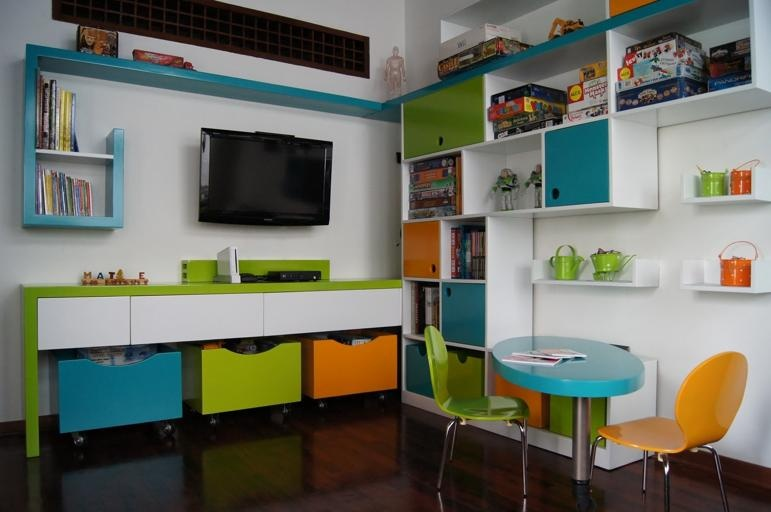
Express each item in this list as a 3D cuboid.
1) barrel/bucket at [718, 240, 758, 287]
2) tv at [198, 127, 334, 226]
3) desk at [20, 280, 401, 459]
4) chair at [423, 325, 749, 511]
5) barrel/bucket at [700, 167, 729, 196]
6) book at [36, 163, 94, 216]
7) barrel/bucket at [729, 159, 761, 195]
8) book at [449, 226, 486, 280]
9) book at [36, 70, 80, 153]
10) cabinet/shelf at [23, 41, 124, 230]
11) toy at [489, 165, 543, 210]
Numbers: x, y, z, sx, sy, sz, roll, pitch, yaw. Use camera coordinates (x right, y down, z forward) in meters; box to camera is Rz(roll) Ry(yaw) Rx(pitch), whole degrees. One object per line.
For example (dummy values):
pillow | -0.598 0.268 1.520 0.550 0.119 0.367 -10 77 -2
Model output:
barrel/bucket | 2.115 0.054 3.481 0.264 0.333 0.213 -2 -6 39
tv | -1.025 -0.638 4.794 0.911 0.621 0.091 0 8 -27
desk | -1.187 0.713 4.710 2.981 1.041 0.586 1 4 -34
chair | 1.108 0.925 3.332 1.550 0.975 0.867 5 9 33
barrel/bucket | 1.977 -0.438 3.518 0.167 0.175 0.162 -1 1 0
book | -2.315 -0.465 4.180 0.412 0.379 0.142 4 -4 -39
barrel/bucket | 2.137 -0.469 3.445 0.139 0.199 0.203 0 7 -3
book | 0.631 -0.016 4.681 0.364 0.451 0.463 0 -3 18
book | -2.322 -0.990 4.090 0.252 0.516 0.103 -4 9 -28
cabinet/shelf | -2.274 -0.830 4.246 0.238 1.201 0.727 13 12 41
toy | 1.005 -0.518 4.439 0.122 0.238 0.400 3 -1 -29
